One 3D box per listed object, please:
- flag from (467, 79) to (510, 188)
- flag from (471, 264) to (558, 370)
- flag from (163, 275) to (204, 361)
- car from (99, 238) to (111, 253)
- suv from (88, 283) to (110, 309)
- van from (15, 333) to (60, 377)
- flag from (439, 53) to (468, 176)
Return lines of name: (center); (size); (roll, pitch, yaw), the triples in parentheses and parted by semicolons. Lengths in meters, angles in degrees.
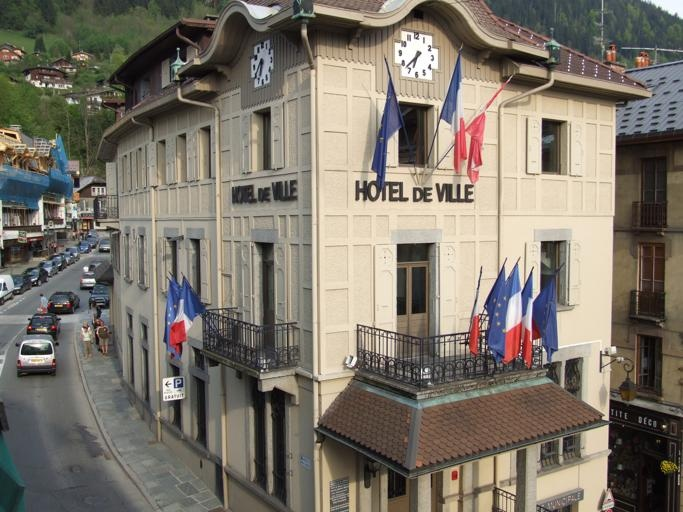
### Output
flag: (5.140, -4.948, 35.232); (1.155, 4.640, 0.655); (28, -26, -27)
flag: (6.158, 2.126, 33.674); (3.163, 3.698, 0.970); (-6, 10, -22)
flag: (-6.258, 2.332, 36.668); (1.246, 3.455, 2.196); (-6, 11, -30)
car: (-26.144, -1.179, 104.884); (0.746, 0.847, 2.134); (0, 18, -11)
suv: (-17.913, 2.713, 70.098); (1.588, 2.141, 3.738); (-1, -4, -14)
van: (-16.156, 5.408, 50.289); (1.866, 2.121, 1.198); (-5, 10, -17)
flag: (4.045, -5.342, 34.194); (0.914, 4.892, 0.624); (5, 42, 11)
